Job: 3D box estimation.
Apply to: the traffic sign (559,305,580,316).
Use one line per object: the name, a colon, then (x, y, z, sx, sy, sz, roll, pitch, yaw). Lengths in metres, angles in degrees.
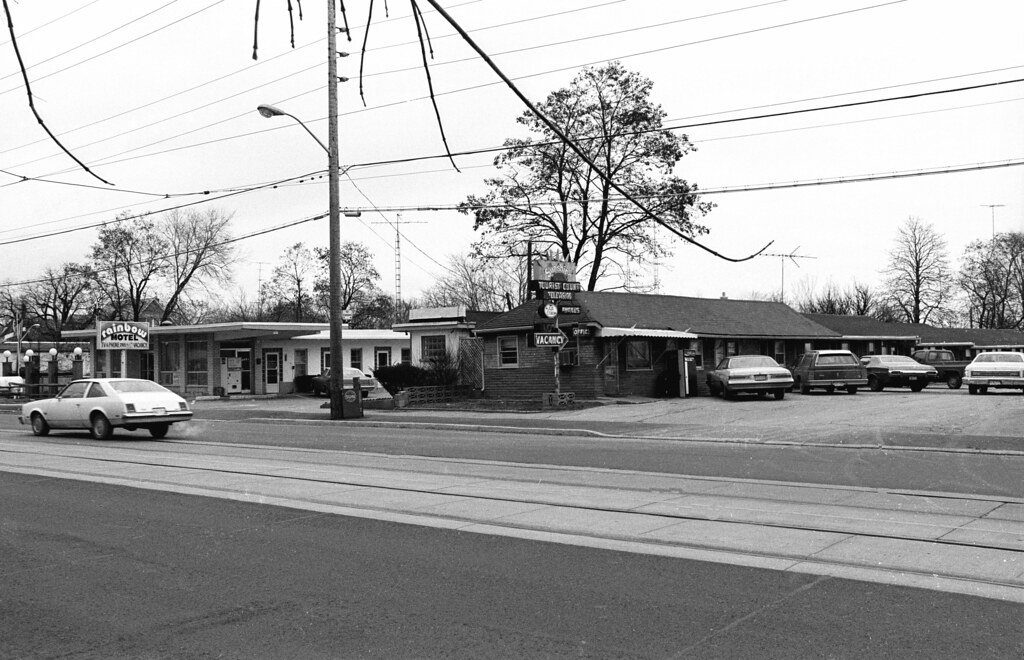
traffic sign: (2.084, -0.756, 36.306, 0.306, 0.356, 1.524, 1, 3, 27)

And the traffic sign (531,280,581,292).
traffic sign: (1.555, -1.576, 36.204, 0.833, 0.454, 2.486, 2, 4, 41)

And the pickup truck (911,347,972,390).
pickup truck: (20.542, 1.780, 48.329, 2.865, 1.202, 1.468, 1, -2, 36)

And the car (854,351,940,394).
car: (17.020, 1.915, 44.033, 1.794, 0.983, 3.331, -1, 2, -15)

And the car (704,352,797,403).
car: (9.295, 1.899, 38.816, 2.389, 1.704, 2.954, -1, 3, -2)

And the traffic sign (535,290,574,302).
traffic sign: (1.532, -1.218, 35.834, 1.570, 0.416, 0.270, -3, 4, -38)

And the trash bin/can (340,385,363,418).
trash bin/can: (-5.849, 2.595, 35.889, 0.580, 1.075, 1.083, -8, -9, 42)

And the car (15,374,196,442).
car: (-11.640, 2.269, 28.401, 4.838, 1.703, 1.414, 1, 4, 31)

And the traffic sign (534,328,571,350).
traffic sign: (1.270, 0.364, 35.002, 1.272, 0.650, 0.958, -2, 3, -25)
